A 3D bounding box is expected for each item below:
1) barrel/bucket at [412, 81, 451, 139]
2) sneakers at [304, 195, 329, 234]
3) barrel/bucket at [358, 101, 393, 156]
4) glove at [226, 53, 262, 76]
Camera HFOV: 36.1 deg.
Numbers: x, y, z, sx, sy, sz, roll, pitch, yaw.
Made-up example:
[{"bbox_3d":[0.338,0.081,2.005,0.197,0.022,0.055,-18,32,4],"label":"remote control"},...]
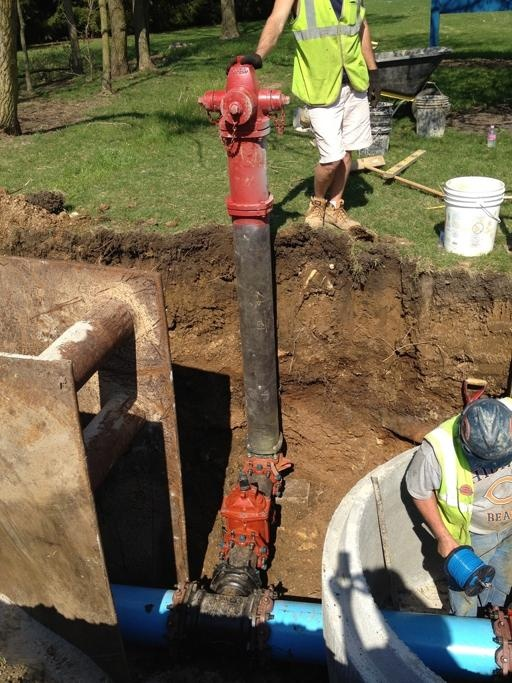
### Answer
[{"bbox_3d":[1.650,-2.184,7.536,0.358,0.393,0.268,8,24,24],"label":"barrel/bucket"},{"bbox_3d":[0.442,-0.949,5.760,0.104,0.125,0.290,6,51,0],"label":"sneakers"},{"bbox_3d":[1.187,-1.922,7.184,0.329,0.404,0.327,-1,13,0],"label":"barrel/bucket"},{"bbox_3d":[-0.060,-1.587,4.435,0.218,0.099,0.226,-7,21,-14],"label":"glove"}]
